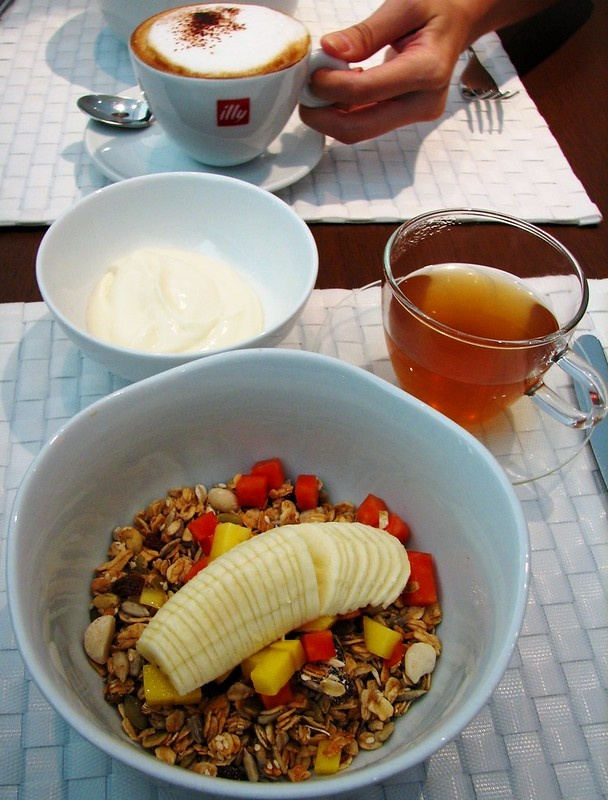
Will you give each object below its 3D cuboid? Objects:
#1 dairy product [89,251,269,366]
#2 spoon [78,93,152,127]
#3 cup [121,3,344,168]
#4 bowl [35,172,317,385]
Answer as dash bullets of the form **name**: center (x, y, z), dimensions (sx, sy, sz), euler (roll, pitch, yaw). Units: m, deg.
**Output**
- **dairy product**: center (-0.155, -0.111, 0.793), dimensions (0.171, 0.053, 0.154), euler (-5, 46, -14)
- **spoon**: center (-0.313, -0.478, 1.110), dimensions (0.107, 0.020, 0.074), euler (-5, 49, -13)
- **cup**: center (-0.103, -0.443, 0.960), dimensions (0.263, 0.150, 0.194), euler (-10, 44, -15)
- **bowl**: center (-0.166, -0.178, 0.746), dimensions (0.309, 0.122, 0.290), euler (2, 53, -2)
